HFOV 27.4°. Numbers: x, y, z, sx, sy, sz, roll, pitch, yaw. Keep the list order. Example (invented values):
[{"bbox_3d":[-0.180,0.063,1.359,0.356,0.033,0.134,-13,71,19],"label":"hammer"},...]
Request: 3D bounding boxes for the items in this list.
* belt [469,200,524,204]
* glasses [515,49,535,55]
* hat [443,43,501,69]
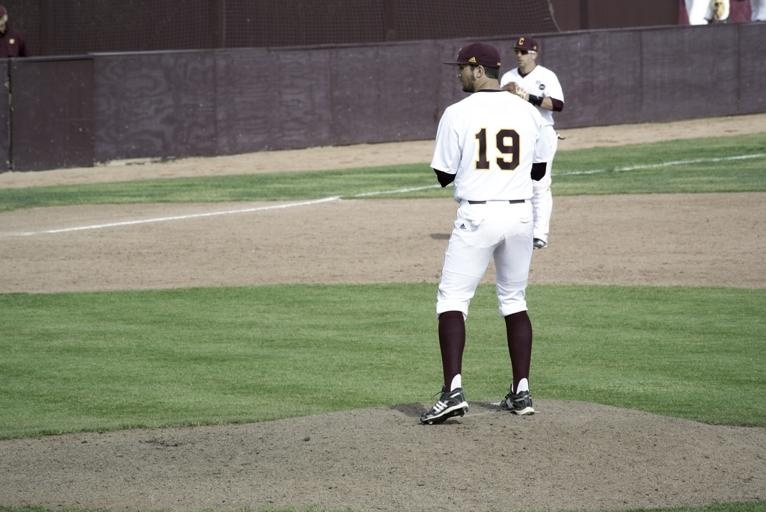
[{"bbox_3d":[1.353,-0.641,18.810,0.689,0.043,0.066,-1,8,-5],"label":"belt"},{"bbox_3d":[2.092,-2.986,23.124,0.161,0.046,0.112,6,3,-15],"label":"glasses"},{"bbox_3d":[1.121,-2.408,18.997,0.495,0.201,0.341,3,8,6],"label":"hat"}]
